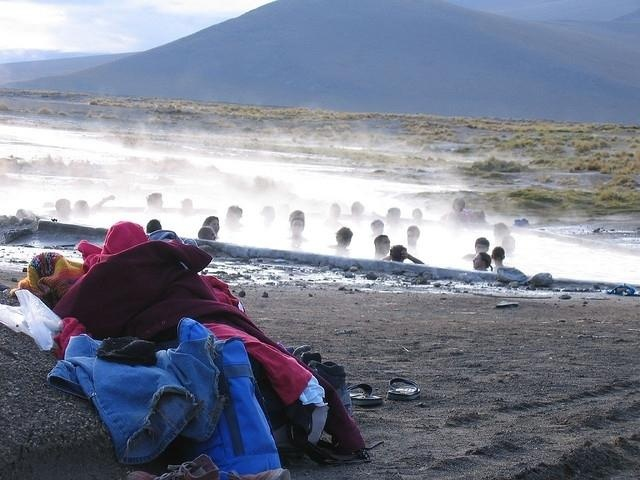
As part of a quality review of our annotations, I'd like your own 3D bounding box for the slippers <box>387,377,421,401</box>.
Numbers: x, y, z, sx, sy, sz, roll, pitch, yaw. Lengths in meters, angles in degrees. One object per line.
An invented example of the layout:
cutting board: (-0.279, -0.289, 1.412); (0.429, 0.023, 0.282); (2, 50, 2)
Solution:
slippers: (0.878, 1.527, 10.105); (0.341, 0.169, 0.387); (5, 10, 6)
